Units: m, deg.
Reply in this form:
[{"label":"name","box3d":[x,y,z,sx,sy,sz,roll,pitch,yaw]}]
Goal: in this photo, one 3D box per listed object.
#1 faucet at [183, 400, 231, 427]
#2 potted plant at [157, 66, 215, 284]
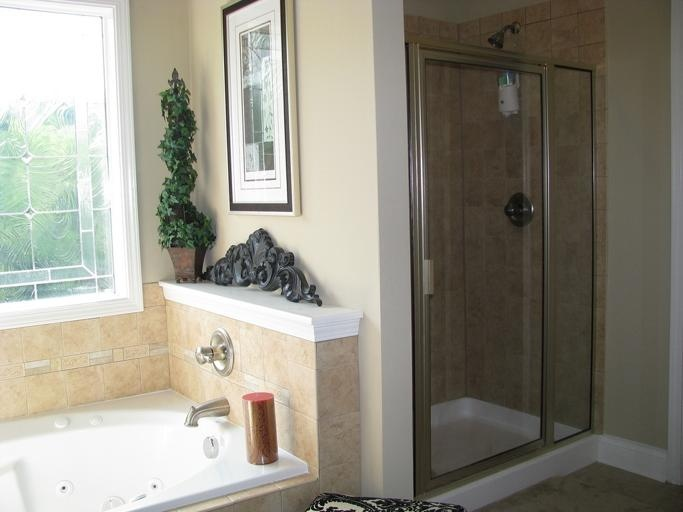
[{"label":"faucet","box3d":[-0.691,0.797,2.947,0.294,0.170,0.101,6,-8,-40]},{"label":"potted plant","box3d":[-0.938,-0.472,3.404,0.328,1.246,0.229,-4,9,-18]}]
